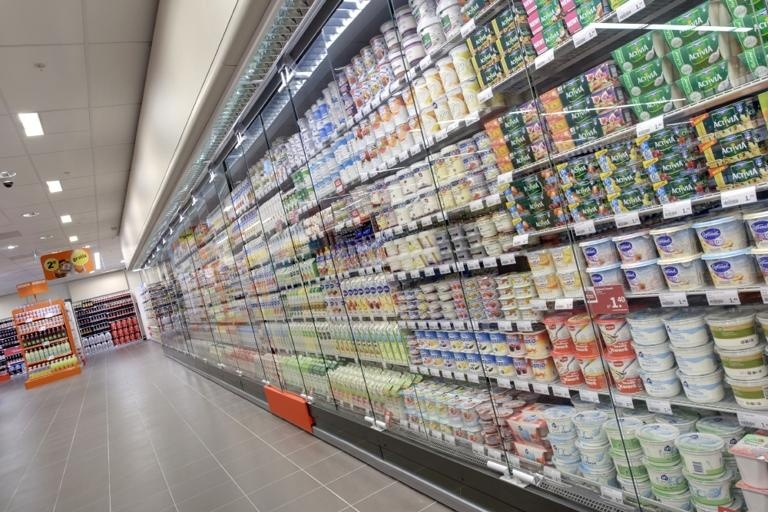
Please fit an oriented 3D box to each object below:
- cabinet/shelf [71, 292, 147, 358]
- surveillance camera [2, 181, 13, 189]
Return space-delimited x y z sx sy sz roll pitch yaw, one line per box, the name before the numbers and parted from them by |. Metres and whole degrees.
cabinet/shelf | -12.593 3.109 20.135 4.393 2.641 1.139 -10 2 -13
surveillance camera | -6.381 -1.207 7.536 0.177 0.061 0.113 -4 -12 -37
